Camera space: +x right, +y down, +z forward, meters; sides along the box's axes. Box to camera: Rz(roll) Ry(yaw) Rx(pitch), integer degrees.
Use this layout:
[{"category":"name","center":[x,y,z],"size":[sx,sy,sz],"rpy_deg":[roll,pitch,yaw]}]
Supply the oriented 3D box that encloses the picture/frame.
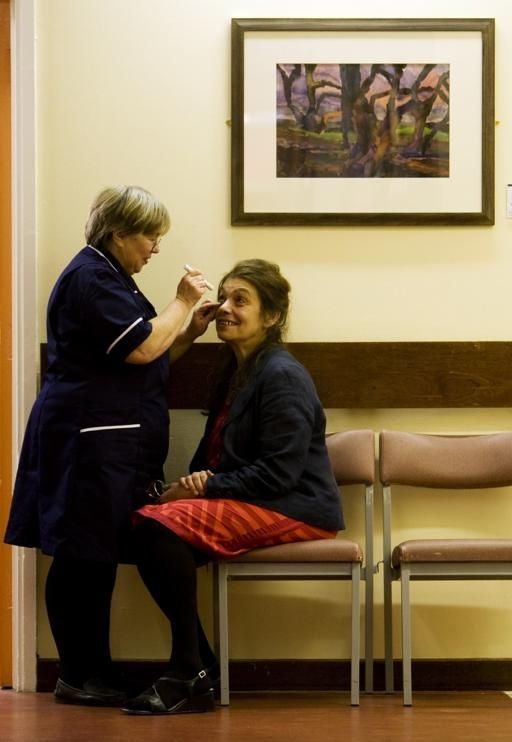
[{"category":"picture/frame","center":[0.340,-0.789,2.387],"size":[0.670,0.474,0.026],"rpy_deg":[0,6,2]}]

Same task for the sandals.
[{"category":"sandals","center":[-0.306,0.756,1.926],"size":[0.414,0.129,0.172],"rpy_deg":[3,-20,0]}]

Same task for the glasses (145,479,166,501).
[{"category":"glasses","center":[-0.265,0.314,2.017],"size":[0.050,0.041,0.026],"rpy_deg":[-22,-39,29]}]
